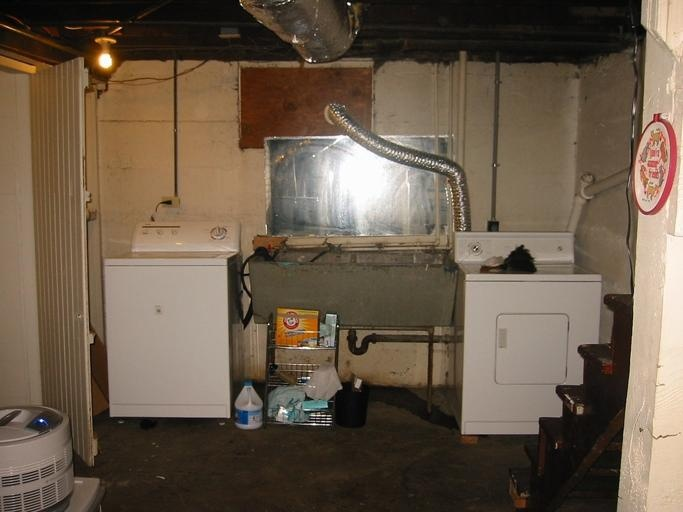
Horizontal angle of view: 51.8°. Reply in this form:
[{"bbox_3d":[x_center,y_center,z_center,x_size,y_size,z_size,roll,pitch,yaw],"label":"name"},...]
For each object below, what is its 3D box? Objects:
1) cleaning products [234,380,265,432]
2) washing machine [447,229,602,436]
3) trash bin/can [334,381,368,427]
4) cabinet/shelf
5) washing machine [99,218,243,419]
[{"bbox_3d":[-0.628,0.992,4.762,0.199,0.304,0.203,0,6,-8],"label":"cleaning products"},{"bbox_3d":[1.250,0.487,4.749,0.978,1.298,0.796,0,5,9],"label":"washing machine"},{"bbox_3d":[0.058,0.998,4.790,0.224,0.253,0.231,3,6,7],"label":"trash bin/can"},{"bbox_3d":[-0.270,0.721,5.001,0.505,0.763,0.691,-1,5,-3],"label":"cabinet/shelf"},{"bbox_3d":[-1.165,0.402,4.978,0.955,1.269,0.896,-3,11,-22],"label":"washing machine"}]
